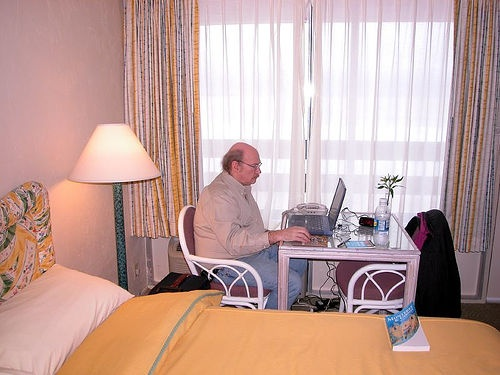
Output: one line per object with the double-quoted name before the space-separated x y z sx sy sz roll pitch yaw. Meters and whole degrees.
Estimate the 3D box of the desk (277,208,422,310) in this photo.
"desk" 0.684 0.410 2.522 0.584 0.641 0.632 2 24 6

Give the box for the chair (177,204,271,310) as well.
"chair" -0.111 0.464 3.077 0.643 1.064 0.673 0 10 8

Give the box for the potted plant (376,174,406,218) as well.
"potted plant" 1.201 0.100 3.368 0.168 0.404 0.217 8 11 17

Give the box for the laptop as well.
"laptop" 0.504 0.127 2.945 0.429 0.343 0.574 1 8 0

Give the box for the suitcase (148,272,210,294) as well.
"suitcase" -0.445 0.630 2.558 0.183 0.072 0.205 2 22 13

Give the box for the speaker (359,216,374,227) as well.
"speaker" 0.868 0.254 2.873 0.106 0.063 0.077 4 -1 10

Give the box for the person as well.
"person" -0.004 0.161 3.378 1.035 1.868 0.907 -1 12 6
